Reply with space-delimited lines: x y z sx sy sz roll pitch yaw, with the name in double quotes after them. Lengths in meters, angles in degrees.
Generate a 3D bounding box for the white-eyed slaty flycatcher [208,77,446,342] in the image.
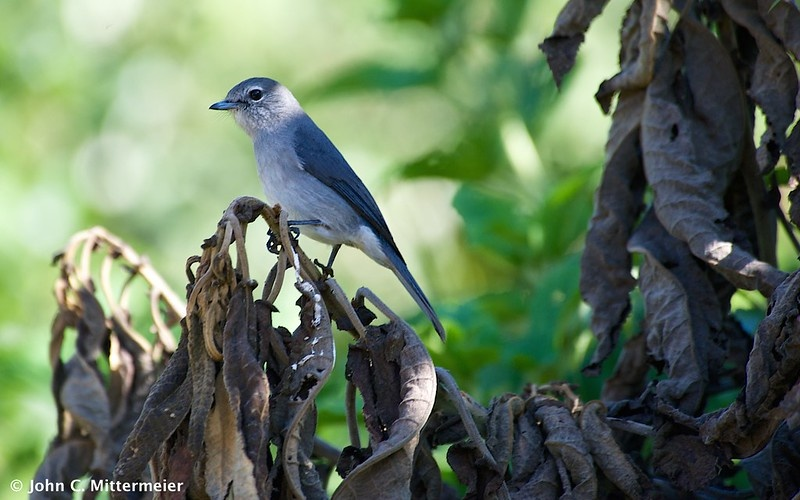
-0.401 -0.345 7.978 1.570 0.980 0.516 21 -28 -20 "white-eyed slaty flycatcher"
